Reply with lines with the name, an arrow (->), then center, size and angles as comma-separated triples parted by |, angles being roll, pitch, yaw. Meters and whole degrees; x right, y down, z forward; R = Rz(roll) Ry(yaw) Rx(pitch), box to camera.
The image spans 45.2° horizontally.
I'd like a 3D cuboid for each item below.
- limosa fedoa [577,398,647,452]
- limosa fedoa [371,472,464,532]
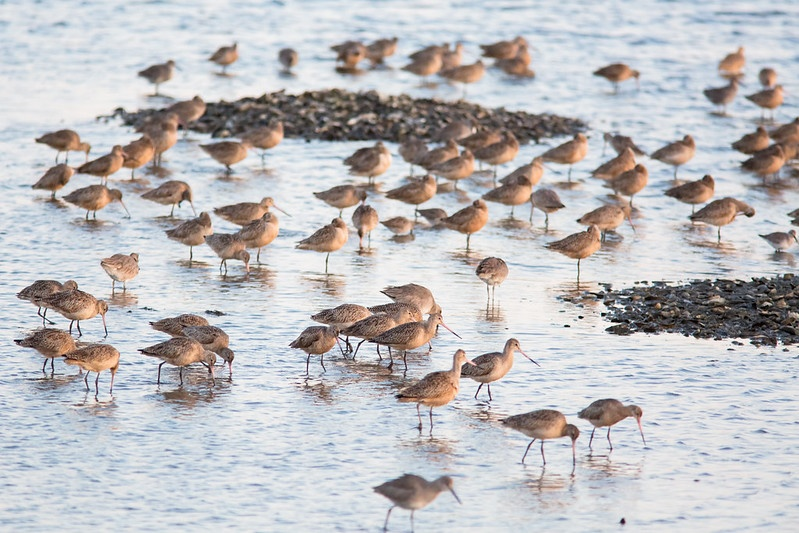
limosa fedoa -> 4.225, 3.200, 19.258 | 0.761, 1.765, 0.984 | 12, 84, -30
limosa fedoa -> 0.188, 4.021, 16.772 | 1.996, 0.767, 1.047 | 7, 103, 4
